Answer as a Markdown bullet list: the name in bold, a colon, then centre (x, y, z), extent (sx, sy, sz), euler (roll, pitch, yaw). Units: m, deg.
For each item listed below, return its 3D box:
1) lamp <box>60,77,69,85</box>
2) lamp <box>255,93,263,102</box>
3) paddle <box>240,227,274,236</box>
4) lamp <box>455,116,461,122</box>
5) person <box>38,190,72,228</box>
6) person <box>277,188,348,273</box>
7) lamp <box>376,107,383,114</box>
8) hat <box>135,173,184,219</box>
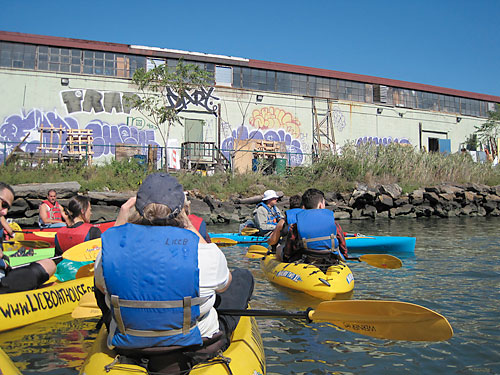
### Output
- **lamp**: centre (-7.673, -4.417, 22.145), extent (0.307, 0.278, 0.201), euler (0, -3, -18)
- **lamp**: centre (0.455, -4.305, 25.769), extent (0.392, 0.363, 0.310), euler (3, -4, -21)
- **paddle**: centre (0.164, 0.996, 12.011), extent (0.816, 0.232, 0.139), euler (1, 17, 41)
- **lamp**: centre (12.535, -4.069, 32.097), extent (0.374, 0.265, 0.302), euler (0, -5, -6)
- **person**: centre (-4.218, 0.497, 11.645), extent (0.815, 0.884, 0.621), euler (-1, 1, 12)
- **person**: centre (1.009, 0.677, 8.040), extent (1.004, 1.359, 1.187), euler (0, 16, 1)
- **lamp**: centre (6.996, -4.140, 28.879), extent (0.326, 0.393, 0.303), euler (1, -5, -8)
- **hat**: centre (-0.889, 0.082, 5.343), extent (0.372, 0.261, 0.497), euler (0, 2, -6)
